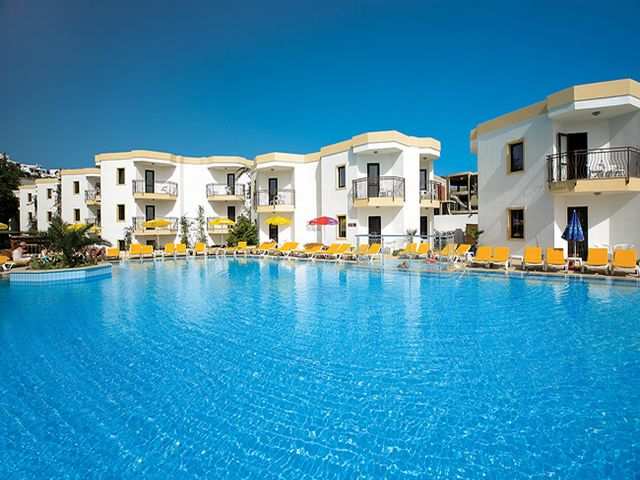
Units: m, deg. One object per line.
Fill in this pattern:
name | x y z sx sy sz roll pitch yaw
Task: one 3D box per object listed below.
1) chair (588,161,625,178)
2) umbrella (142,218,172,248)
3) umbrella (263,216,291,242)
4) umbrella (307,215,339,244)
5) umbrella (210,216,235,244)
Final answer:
chair | 13.573 -3.364 27.148 1.589 0.741 0.434 -1 -2 28
umbrella | -11.383 -0.508 39.511 2.103 2.556 1.944 2 6 -11
umbrella | -3.056 -0.751 39.620 1.669 1.964 1.672 -7 12 -38
umbrella | 0.296 -0.793 35.434 1.038 1.219 1.115 2 8 18
umbrella | -7.052 -0.879 42.204 1.975 2.314 1.943 0 -1 -16
